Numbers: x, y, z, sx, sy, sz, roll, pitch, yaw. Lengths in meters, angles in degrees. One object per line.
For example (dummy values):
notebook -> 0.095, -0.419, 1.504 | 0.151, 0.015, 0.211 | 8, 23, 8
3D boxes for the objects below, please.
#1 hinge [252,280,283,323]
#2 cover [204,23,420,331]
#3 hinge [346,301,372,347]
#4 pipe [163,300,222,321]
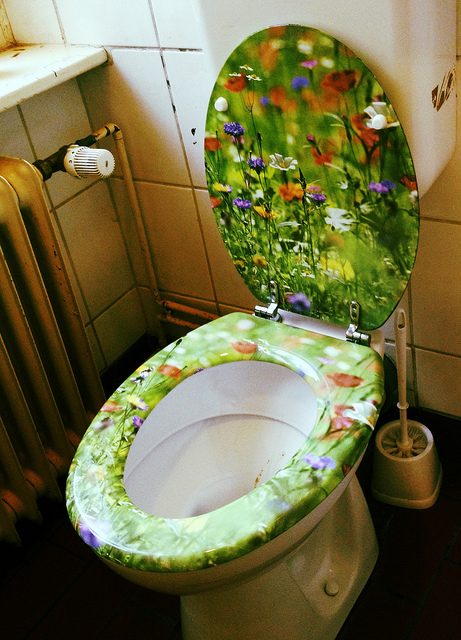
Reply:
hinge -> 0.075, -0.047, 0.970 | 0.058, 0.068, 0.063 | 18, 43, 23
cover -> 0.101, -0.187, 0.761 | 0.325, 0.445, 0.033 | 16, 43, 35
hinge -> 0.205, 0.004, 0.836 | 0.023, 0.084, 0.047 | -26, 36, -24
pipe -> -0.097, -0.029, 1.391 | 0.159, 0.026, 0.024 | 16, 15, 42
